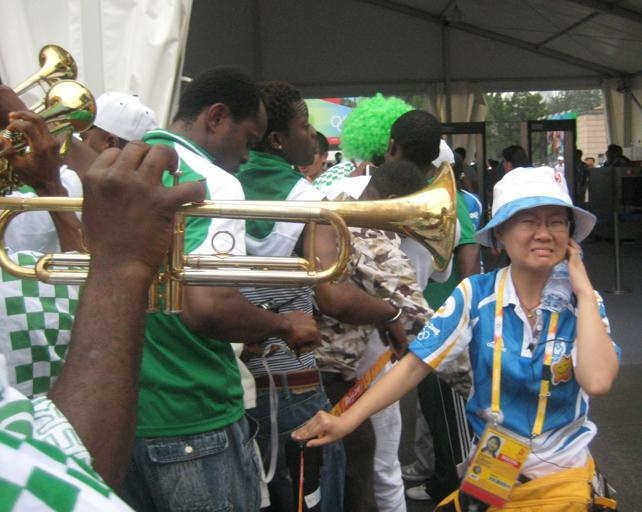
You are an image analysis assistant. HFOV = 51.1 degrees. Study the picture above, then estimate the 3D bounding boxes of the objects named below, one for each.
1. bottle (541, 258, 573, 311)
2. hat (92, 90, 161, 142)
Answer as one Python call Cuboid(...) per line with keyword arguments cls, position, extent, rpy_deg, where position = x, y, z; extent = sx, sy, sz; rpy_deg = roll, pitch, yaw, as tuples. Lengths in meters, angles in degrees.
Cuboid(cls="bottle", position=(0.779, 0.096, 2.210), extent=(0.092, 0.160, 0.072), rpy_deg=(-4, -14, 38))
Cuboid(cls="hat", position=(-0.894, -0.638, 3.076), extent=(0.253, 0.236, 0.230), rpy_deg=(-3, 3, -9))
